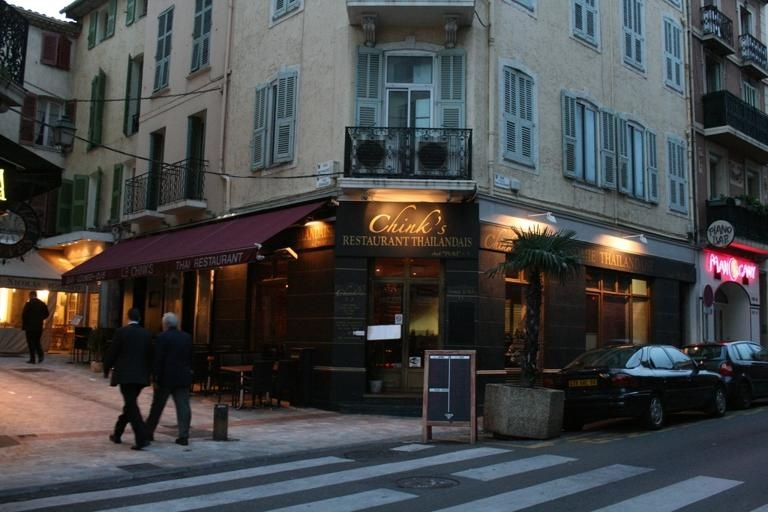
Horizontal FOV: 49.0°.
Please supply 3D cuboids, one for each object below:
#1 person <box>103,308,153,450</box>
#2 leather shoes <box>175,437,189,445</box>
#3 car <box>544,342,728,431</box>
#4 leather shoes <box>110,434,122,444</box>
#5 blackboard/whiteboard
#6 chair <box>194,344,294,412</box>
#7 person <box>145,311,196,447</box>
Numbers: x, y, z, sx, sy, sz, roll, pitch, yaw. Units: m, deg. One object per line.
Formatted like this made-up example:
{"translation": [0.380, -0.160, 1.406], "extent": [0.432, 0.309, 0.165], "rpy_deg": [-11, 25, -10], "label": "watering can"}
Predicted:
{"translation": [-5.612, 2.627, 18.334], "extent": [0.942, 2.812, 1.162], "rpy_deg": [3, -4, -42], "label": "person"}
{"translation": [-4.461, 4.064, 18.531], "extent": [0.290, 0.177, 0.253], "rpy_deg": [3, -9, -7], "label": "leather shoes"}
{"translation": [6.347, 3.239, 20.883], "extent": [5.848, 1.861, 2.144], "rpy_deg": [2, -3, -41], "label": "car"}
{"translation": [-5.912, 4.028, 18.581], "extent": [0.324, 0.137, 0.121], "rpy_deg": [8, 4, 41], "label": "leather shoes"}
{"translation": [1.495, 3.066, 19.642], "extent": [1.069, 1.682, 1.182], "rpy_deg": [-1, 11, 2], "label": "blackboard/whiteboard"}
{"translation": [-4.022, 3.454, 23.860], "extent": [2.273, 1.608, 3.815], "rpy_deg": [7, -10, -29], "label": "chair"}
{"translation": [-4.820, 2.689, 18.735], "extent": [0.935, 2.702, 1.137], "rpy_deg": [3, -4, -44], "label": "person"}
